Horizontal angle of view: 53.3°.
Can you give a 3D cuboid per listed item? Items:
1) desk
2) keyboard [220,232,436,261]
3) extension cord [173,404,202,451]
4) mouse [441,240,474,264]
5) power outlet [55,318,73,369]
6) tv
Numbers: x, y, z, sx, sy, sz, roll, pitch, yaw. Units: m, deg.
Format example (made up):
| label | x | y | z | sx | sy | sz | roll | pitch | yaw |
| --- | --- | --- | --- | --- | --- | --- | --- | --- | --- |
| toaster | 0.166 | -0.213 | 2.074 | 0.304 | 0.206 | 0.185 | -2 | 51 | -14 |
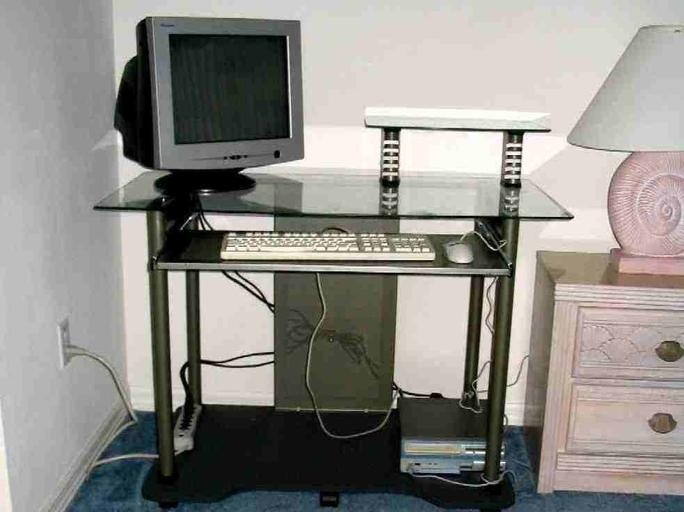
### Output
| label | x | y | z | sx | sy | sz | roll | pitch | yaw |
| --- | --- | --- | --- | --- | --- | --- | --- | --- | --- |
| desk | -0.056 | 0.273 | 2.297 | 1.351 | 1.026 | 0.542 | 1 | 15 | 0 |
| keyboard | -0.042 | -0.027 | 2.054 | 0.626 | 0.064 | 0.143 | 0 | 15 | -4 |
| extension cord | -0.566 | 0.632 | 2.461 | 0.107 | 0.045 | 0.444 | 1 | 5 | -10 |
| mouse | 0.352 | -0.013 | 2.056 | 0.090 | 0.054 | 0.097 | 3 | 15 | 10 |
| power outlet | -0.867 | 0.244 | 2.138 | 0.009 | 0.089 | 0.045 | -2 | 6 | 17 |
| tv | -0.458 | -0.499 | 2.296 | 0.443 | 0.536 | 0.585 | 7 | 14 | 44 |
